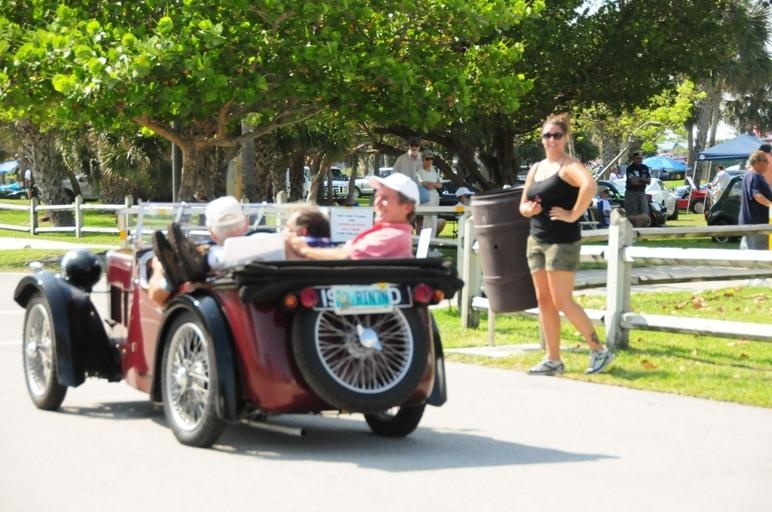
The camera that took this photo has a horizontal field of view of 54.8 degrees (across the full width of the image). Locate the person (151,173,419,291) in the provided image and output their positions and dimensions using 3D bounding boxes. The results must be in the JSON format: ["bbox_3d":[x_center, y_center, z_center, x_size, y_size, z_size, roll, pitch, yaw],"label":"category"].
[{"bbox_3d":[-0.813,-0.105,6.063,1.710,0.918,1.074,-1,-1,15],"label":"person"}]

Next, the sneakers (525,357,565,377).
[{"bbox_3d":[1.823,1.265,8.544,0.405,0.224,0.167,0,1,2],"label":"sneakers"}]

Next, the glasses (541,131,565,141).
[{"bbox_3d":[1.798,-1.302,8.032,0.215,0.073,0.056,3,7,19],"label":"glasses"}]

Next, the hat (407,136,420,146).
[{"bbox_3d":[0.600,-2.448,15.805,0.208,0.197,0.351,0,6,-2],"label":"hat"}]

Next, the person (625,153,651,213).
[{"bbox_3d":[6.531,-1.908,19.424,0.578,1.665,1.002,2,6,18],"label":"person"}]

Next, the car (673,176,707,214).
[{"bbox_3d":[17.343,-3.384,42.632,2.068,1.824,3.469,0,-1,2],"label":"car"}]

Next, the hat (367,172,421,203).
[{"bbox_3d":[0.077,-0.586,6.083,0.349,0.134,0.227,31,-8,-31],"label":"hat"}]

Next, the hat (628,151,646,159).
[{"bbox_3d":[6.422,-2.613,19.107,0.329,0.101,0.337,0,-1,35],"label":"hat"}]

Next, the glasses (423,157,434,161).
[{"bbox_3d":[0.914,-2.136,16.137,0.171,0.100,0.167,-1,6,-8],"label":"glasses"}]

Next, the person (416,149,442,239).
[{"bbox_3d":[0.940,-1.318,16.535,0.722,2.037,0.786,1,23,6],"label":"person"}]

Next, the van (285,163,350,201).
[{"bbox_3d":[-4.335,-6.053,57.999,2.824,3.005,5.568,0,-1,-23],"label":"van"}]
